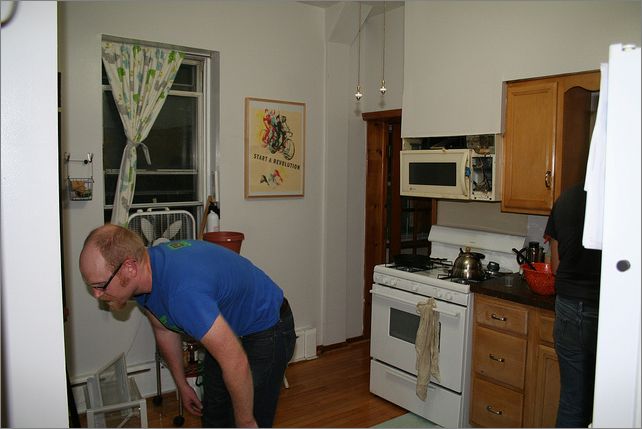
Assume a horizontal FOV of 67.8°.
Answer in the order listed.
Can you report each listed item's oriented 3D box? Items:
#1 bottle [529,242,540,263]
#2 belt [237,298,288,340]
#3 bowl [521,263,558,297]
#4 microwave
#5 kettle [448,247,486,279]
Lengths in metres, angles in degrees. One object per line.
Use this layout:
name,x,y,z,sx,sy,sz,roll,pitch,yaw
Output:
bottle,1.465,0.263,3.299,0.079,0.128,0.078,-2,7,0
belt,-0.291,0.486,2.391,0.261,0.156,0.200,-22,0,-12
bowl,1.380,0.406,3.030,0.199,0.108,0.207,0,-4,0
microwave,0.871,-0.310,3.702,0.361,0.371,0.556,-2,3,-42
kettle,1.072,0.355,3.463,0.210,0.200,0.297,4,9,38
